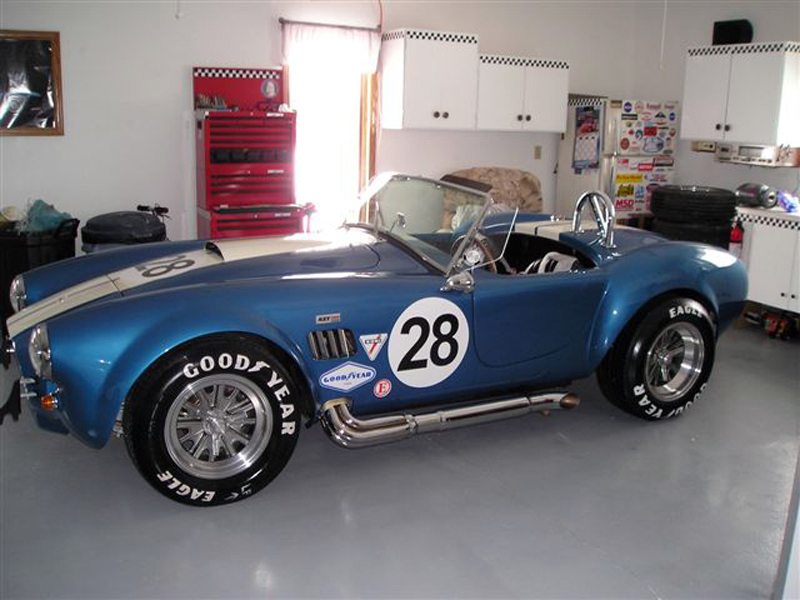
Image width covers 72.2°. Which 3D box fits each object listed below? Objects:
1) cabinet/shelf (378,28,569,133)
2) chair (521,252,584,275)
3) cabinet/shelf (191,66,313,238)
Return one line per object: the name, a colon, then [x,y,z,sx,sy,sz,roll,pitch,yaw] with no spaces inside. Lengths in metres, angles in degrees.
cabinet/shelf: [0.922,-2.395,6.029,2.017,0.975,0.284,-5,17,-17]
chair: [0.953,-0.228,3.416,0.221,0.180,0.242,0,9,-21]
cabinet/shelf: [-1.453,-1.344,5.345,0.857,1.851,0.564,-6,15,-24]
